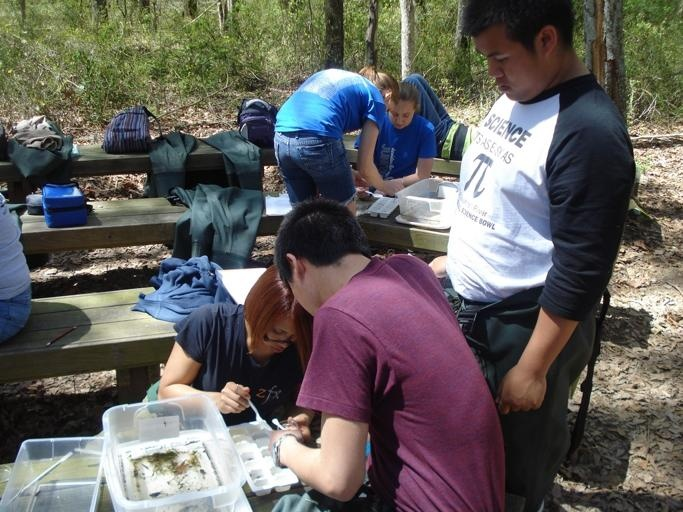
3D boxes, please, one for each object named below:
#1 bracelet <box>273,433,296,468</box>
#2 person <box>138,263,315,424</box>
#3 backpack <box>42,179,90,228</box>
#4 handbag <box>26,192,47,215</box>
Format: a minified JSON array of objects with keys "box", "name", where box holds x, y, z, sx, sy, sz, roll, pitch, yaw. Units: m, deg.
[{"box":[-0.240,0.780,2.172,0.034,0.135,0.124,12,-3,-4],"name":"bracelet"},{"box":[-0.598,0.482,2.810,0.419,0.720,0.510,27,28,-43],"name":"person"},{"box":[-2.269,-0.424,4.472,0.304,0.302,0.395,-8,13,-39],"name":"backpack"},{"box":[-2.648,-0.448,4.774,0.191,0.188,0.198,-1,2,37],"name":"handbag"}]
